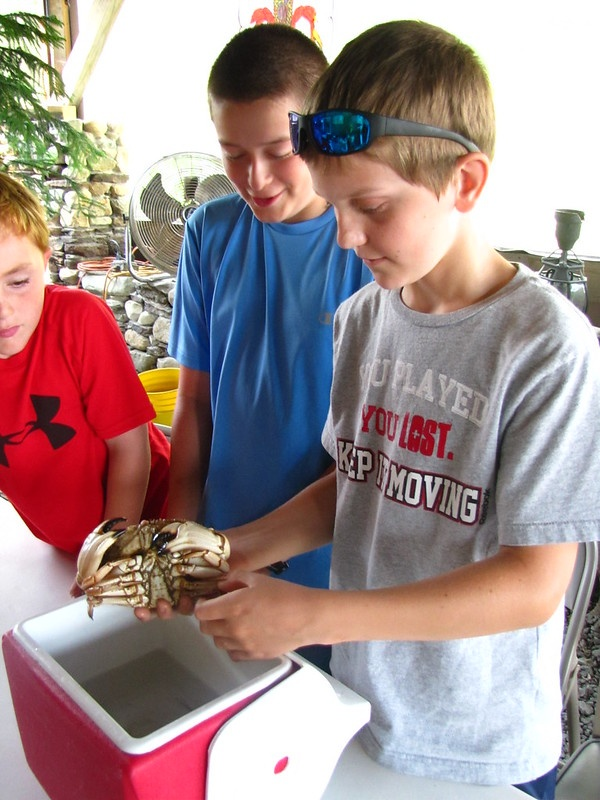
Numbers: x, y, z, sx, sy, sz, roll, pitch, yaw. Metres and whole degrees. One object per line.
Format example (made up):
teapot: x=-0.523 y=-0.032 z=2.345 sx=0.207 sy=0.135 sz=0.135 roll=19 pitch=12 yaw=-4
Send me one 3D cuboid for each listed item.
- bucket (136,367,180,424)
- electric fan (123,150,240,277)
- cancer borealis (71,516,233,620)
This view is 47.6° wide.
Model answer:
bucket: x=-0.459 y=-0.018 z=2.222 sx=0.174 sy=0.172 sz=0.163 roll=-1 pitch=27 yaw=0
electric fan: x=-0.575 y=-0.881 z=3.294 sx=0.730 sy=0.625 sz=0.159 roll=5 pitch=11 yaw=18
cancer borealis: x=-0.177 y=0.208 z=0.827 sx=0.207 sy=0.141 sz=0.059 roll=3 pitch=11 yaw=-19
